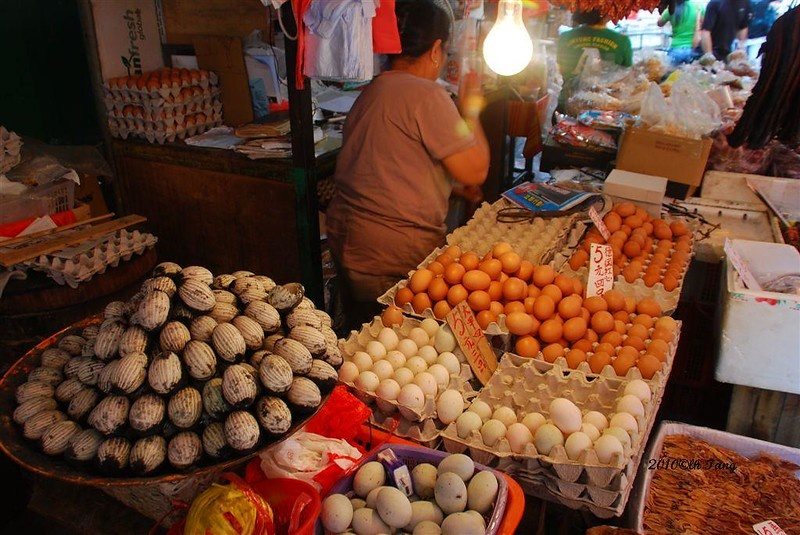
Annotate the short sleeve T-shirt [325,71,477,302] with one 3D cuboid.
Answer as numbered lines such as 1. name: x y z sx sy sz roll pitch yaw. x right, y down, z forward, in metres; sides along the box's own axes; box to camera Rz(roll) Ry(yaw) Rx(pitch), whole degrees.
1. short sleeve T-shirt: 0.007 -0.458 3.110 0.774 1.444 0.779 -30 55 -24

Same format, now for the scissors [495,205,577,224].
1. scissors: 0.867 -0.344 3.411 0.496 0.043 0.183 -3 50 2

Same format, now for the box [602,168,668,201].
1. box: 1.555 -0.541 3.510 0.361 0.127 0.255 19 36 21

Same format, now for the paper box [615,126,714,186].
1. paper box: 1.941 -0.863 3.939 0.492 0.316 0.510 19 25 13

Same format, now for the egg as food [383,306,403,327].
1. egg as food: -0.038 0.244 2.549 0.093 0.114 0.089 -5 10 -27

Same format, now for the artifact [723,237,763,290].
1. artifact: 1.855 -0.009 2.861 0.143 0.229 0.227 -31 -7 1

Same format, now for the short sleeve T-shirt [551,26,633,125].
1. short sleeve T-shirt: 2.345 -2.290 6.427 0.880 1.093 0.599 0 7 10
